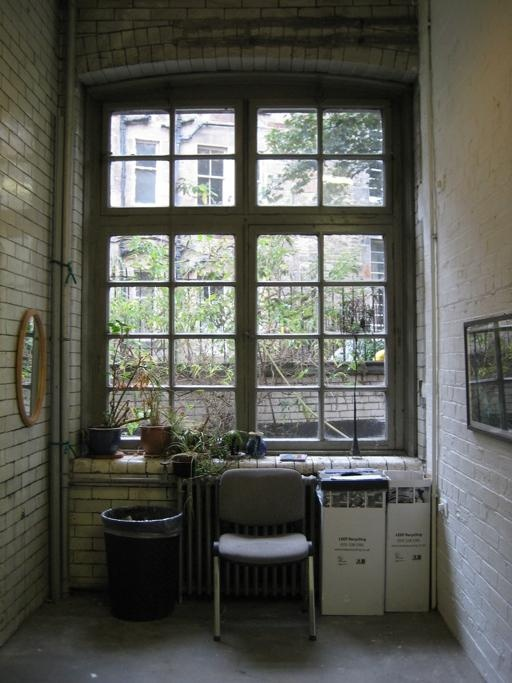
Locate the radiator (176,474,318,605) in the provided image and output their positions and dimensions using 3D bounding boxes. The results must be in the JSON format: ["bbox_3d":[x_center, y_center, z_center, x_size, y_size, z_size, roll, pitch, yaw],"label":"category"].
[{"bbox_3d":[-0.046,1.031,3.478,0.634,0.600,0.090,0,-7,1],"label":"radiator"}]

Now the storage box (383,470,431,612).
[{"bbox_3d":[0.763,1.034,3.403,0.225,0.653,0.120,1,3,11],"label":"storage box"}]

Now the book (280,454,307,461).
[{"bbox_3d":[0.204,0.659,3.833,0.154,0.018,0.179,0,4,3],"label":"book"}]

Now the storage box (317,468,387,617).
[{"bbox_3d":[0.550,1.090,3.509,0.388,0.667,0.378,-5,-24,21],"label":"storage box"}]

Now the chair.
[{"bbox_3d":[0.038,1.034,3.404,0.511,0.687,0.730,0,3,3],"label":"chair"}]

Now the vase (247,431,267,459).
[{"bbox_3d":[-0.004,0.597,3.871,0.111,0.140,0.135,0,3,1],"label":"vase"}]

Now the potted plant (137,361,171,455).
[{"bbox_3d":[-0.598,0.415,3.940,0.192,0.530,0.188,-11,-10,39],"label":"potted plant"}]

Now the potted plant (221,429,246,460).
[{"bbox_3d":[-0.132,0.598,3.870,0.150,0.160,0.117,3,-7,-28],"label":"potted plant"}]

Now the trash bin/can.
[{"bbox_3d":[-0.579,1.135,3.470,0.427,0.489,0.425,4,-7,-31],"label":"trash bin/can"}]

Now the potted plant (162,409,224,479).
[{"bbox_3d":[-0.345,0.592,3.738,0.276,0.310,0.297,1,-4,-7],"label":"potted plant"}]
